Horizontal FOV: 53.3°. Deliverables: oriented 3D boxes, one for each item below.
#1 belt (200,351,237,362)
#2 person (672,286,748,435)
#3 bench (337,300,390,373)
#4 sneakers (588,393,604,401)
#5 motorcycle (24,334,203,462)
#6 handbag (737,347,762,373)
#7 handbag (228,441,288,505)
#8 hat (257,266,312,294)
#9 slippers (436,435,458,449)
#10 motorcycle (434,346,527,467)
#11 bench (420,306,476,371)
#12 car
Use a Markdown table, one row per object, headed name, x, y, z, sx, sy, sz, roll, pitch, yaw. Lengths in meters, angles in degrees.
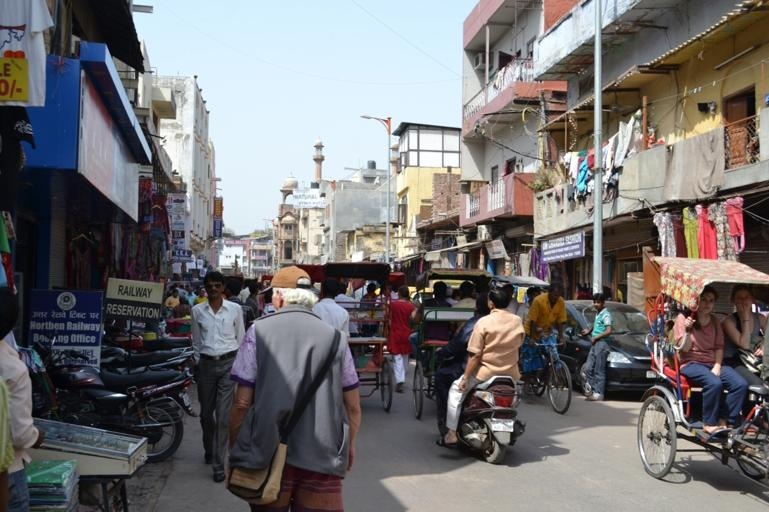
| name | x | y | z | sx | sy | sz | roll | pitch | yaw |
| --- | --- | --- | --- | --- | --- | --- | --- | --- | --- |
| belt | -2.330 | 1.380 | 10.608 | 0.513 | 0.138 | 0.133 | 0 | 3 | -12 |
| person | 4.258 | 1.342 | 10.037 | 0.603 | 1.845 | 0.889 | 0 | 3 | -12 |
| bench | -0.343 | 1.517 | 15.165 | 0.948 | 1.672 | 1.680 | 1 | 12 | 0 |
| sneakers | 4.246 | 2.853 | 15.460 | 0.258 | 0.159 | 0.114 | 1 | -2 | -12 |
| motorcycle | -3.674 | 1.982 | 10.355 | 2.633 | 1.629 | 1.313 | 8 | -10 | -21 |
| handbag | 4.824 | 1.384 | 10.129 | 0.194 | 0.263 | 0.314 | 0 | 3 | -11 |
| handbag | -1.154 | 1.995 | 7.056 | 0.447 | 0.586 | 0.293 | 5 | -26 | 36 |
| hat | -1.005 | 0.244 | 7.720 | 0.244 | 0.190 | 0.345 | -1 | 2 | -40 |
| slippers | 0.928 | 2.801 | 11.498 | 0.179 | 0.193 | 0.434 | 1 | 0 | -6 |
| motorcycle | 1.411 | 2.354 | 11.041 | 0.763 | 1.044 | 1.781 | 3 | -7 | -6 |
| bench | 1.100 | 1.397 | 13.686 | 0.684 | 1.161 | 1.301 | 1 | 6 | -2 |
| car | 4.678 | 1.915 | 16.375 | 1.315 | 1.210 | 2.484 | 1 | -5 | -12 |
